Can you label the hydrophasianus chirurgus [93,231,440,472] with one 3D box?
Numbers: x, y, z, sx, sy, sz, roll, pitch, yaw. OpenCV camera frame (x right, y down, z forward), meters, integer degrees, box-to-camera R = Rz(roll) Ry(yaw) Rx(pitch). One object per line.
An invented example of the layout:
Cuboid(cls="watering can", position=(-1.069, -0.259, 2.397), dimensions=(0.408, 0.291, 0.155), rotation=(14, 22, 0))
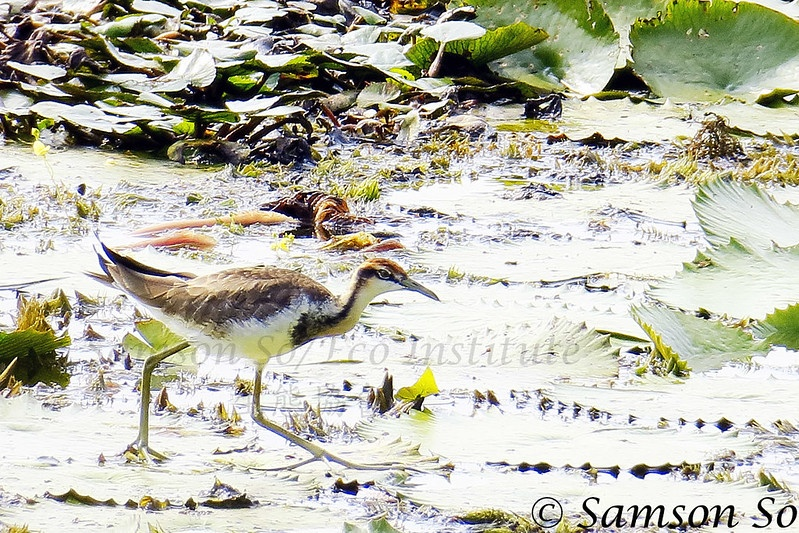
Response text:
Cuboid(cls="hydrophasianus chirurgus", position=(-0.559, 0.394, 4.208), dimensions=(1.479, 0.558, 0.358), rotation=(4, 15, 2))
